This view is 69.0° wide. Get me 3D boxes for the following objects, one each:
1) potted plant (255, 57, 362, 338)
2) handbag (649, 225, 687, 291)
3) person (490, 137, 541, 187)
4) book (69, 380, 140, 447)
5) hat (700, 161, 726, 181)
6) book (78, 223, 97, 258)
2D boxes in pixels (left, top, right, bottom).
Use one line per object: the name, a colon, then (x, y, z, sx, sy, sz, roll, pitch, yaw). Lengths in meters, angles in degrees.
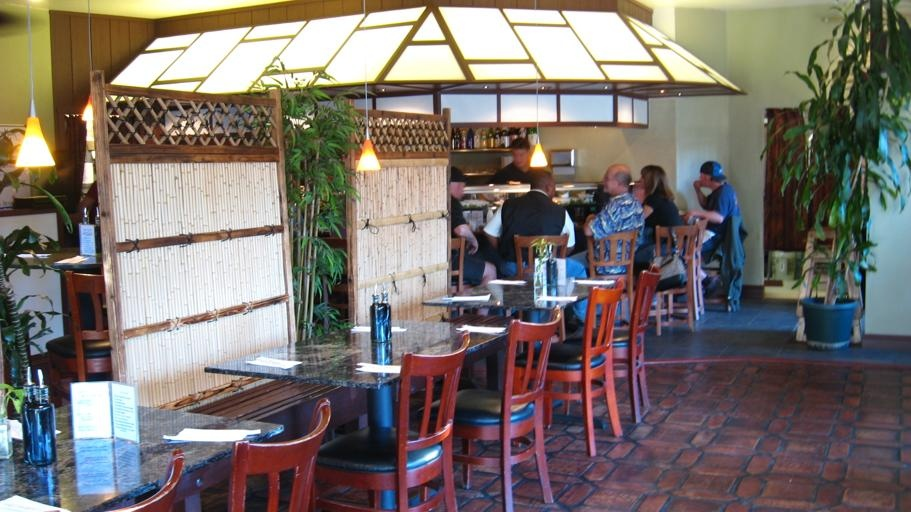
potted plant: (-1.358, -0.549, 6.563, 0.828, 2.639, 1.127, -6, 14, -14)
handbag: (2.897, 0.033, 8.900, 0.407, 0.892, 0.624, 3, 15, 22)
person: (1.061, -1.479, 10.387, 0.919, 0.771, 0.431, 1, 25, 21)
book: (-2.005, 0.910, 3.768, 0.347, 0.289, 0.142, 3, 7, 18)
hat: (3.915, -1.296, 10.164, 0.405, 0.213, 0.287, 14, 23, 32)
book: (-4.094, -0.182, 7.344, 0.195, 0.342, 0.520, -10, 15, -28)
